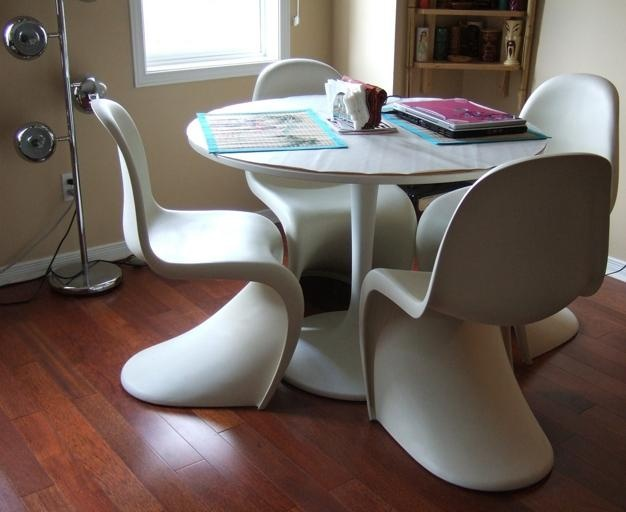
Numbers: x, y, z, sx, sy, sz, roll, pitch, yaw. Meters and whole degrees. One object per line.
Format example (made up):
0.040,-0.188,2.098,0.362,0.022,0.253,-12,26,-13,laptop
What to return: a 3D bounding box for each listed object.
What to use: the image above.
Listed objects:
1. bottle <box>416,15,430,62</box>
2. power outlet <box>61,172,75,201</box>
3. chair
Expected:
0.650,-1.258,2.958,0.092,0.186,0.081,5,24,12,bottle
-1.239,-0.344,2.513,0.056,0.144,0.050,-11,25,-22,power outlet
0.224,-0.049,1.785,1.690,0.992,1.171,8,27,17,chair
